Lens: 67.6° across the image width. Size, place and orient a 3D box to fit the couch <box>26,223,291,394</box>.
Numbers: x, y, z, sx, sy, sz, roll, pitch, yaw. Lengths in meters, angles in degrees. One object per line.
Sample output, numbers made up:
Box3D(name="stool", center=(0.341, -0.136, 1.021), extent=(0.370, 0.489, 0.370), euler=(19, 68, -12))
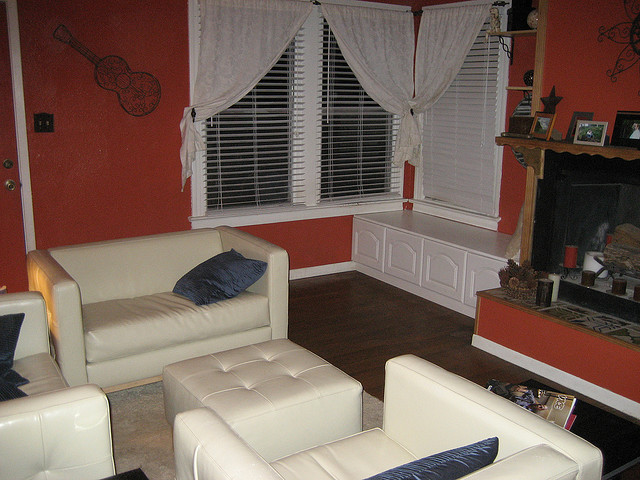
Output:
Box3D(name="couch", center=(-1.253, 0.006, 3.429), extent=(1.919, 1.016, 1.033), euler=(-10, 18, -30))

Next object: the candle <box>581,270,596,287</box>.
Box3D(name="candle", center=(1.999, 0.284, 3.562), extent=(0.102, 0.119, 0.104), euler=(0, 5, 5))

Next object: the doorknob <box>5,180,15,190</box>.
Box3D(name="doorknob", center=(-2.656, -0.474, 4.063), extent=(0.076, 0.079, 0.018), euler=(2, 6, -24))

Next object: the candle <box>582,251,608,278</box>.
Box3D(name="candle", center=(2.064, 0.175, 3.628), extent=(0.174, 0.204, 0.178), euler=(0, 9, 4))

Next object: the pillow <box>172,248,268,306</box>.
Box3D(name="pillow", center=(-0.767, 0.263, 3.491), extent=(0.431, 0.139, 0.454), euler=(15, 45, 43))

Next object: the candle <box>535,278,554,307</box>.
Box3D(name="candle", center=(1.680, 0.386, 3.578), extent=(0.108, 0.187, 0.129), euler=(7, 17, 24))

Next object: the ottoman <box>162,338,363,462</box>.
Box3D(name="ottoman", center=(-0.342, 0.930, 2.678), extent=(0.959, 0.474, 1.015), euler=(-3, 7, -21))

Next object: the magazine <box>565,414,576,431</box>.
Box3D(name="magazine", center=(1.114, 0.803, 2.124), extent=(0.070, 0.071, 0.017), euler=(-6, 28, -42))

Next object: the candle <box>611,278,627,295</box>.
Box3D(name="candle", center=(2.125, 0.328, 3.445), extent=(0.098, 0.115, 0.100), euler=(0, 10, 1))

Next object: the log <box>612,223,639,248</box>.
Box3D(name="log", center=(2.258, -0.034, 3.520), extent=(0.144, 0.143, 0.197), euler=(-8, 19, -23))

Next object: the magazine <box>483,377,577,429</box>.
Box3D(name="magazine", center=(1.018, 0.752, 2.275), extent=(0.277, 0.102, 0.397), euler=(-6, 17, -21))
